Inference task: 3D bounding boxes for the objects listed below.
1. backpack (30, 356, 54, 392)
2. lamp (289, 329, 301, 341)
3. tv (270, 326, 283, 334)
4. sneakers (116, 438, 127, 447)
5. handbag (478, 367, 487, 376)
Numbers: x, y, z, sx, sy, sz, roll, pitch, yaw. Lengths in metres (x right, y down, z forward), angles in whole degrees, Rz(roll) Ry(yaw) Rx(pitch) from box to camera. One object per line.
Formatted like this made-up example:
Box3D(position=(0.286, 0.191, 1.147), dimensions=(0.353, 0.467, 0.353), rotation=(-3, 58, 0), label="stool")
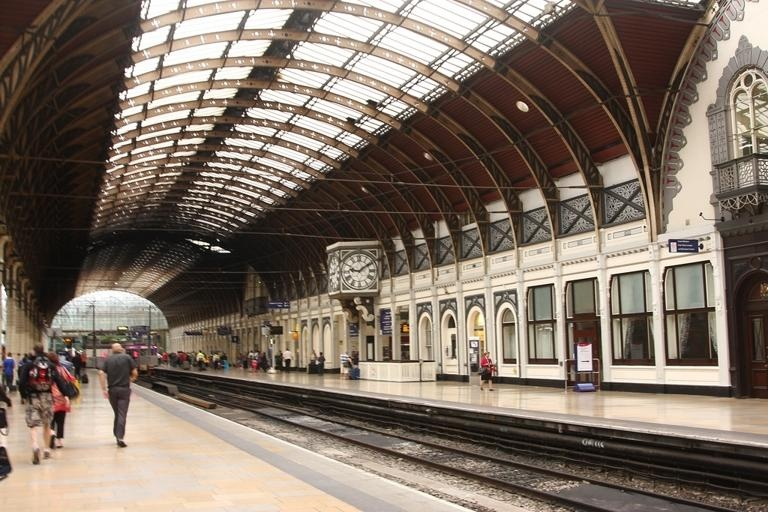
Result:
Box3D(position=(-7.574, 2.595, 12.507), dimensions=(0.467, 0.764, 0.239), rotation=(5, -13, -32), label="backpack")
Box3D(position=(-9.513, 8.370, 60.126), dimensions=(1.208, 1.205, 1.143), rotation=(0, -5, -17), label="lamp")
Box3D(position=(-11.961, 8.167, 62.708), dimensions=(1.265, 0.818, 1.977), rotation=(-1, -11, -4), label="tv")
Box3D(position=(-6.001, 4.251, 12.981), dimensions=(0.104, 0.114, 0.291), rotation=(1, 0, 4), label="sneakers")
Box3D(position=(4.837, 5.691, 28.163), dimensions=(0.252, 0.398, 0.503), rotation=(3, -11, -23), label="handbag")
